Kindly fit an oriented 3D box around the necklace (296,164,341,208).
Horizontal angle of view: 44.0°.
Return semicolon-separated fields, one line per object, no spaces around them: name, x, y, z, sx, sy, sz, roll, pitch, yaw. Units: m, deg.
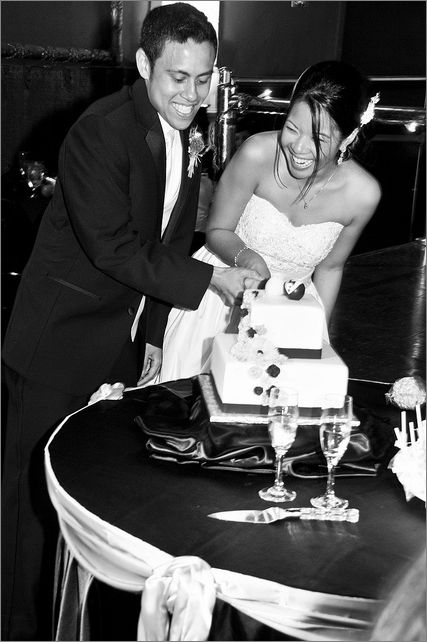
necklace;0.443;-0.545;2.210;0.047;0.305;0.046;41;60;9

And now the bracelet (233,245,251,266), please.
bracelet;0.112;-0.258;2.093;0.018;0.054;0.071;34;60;-7

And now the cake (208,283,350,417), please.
cake;0.135;0.076;1.218;0.258;0.279;0.286;-2;25;-5
